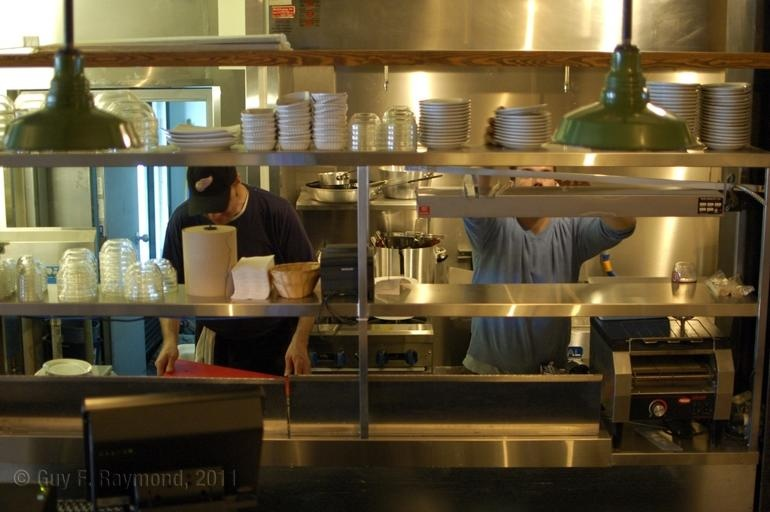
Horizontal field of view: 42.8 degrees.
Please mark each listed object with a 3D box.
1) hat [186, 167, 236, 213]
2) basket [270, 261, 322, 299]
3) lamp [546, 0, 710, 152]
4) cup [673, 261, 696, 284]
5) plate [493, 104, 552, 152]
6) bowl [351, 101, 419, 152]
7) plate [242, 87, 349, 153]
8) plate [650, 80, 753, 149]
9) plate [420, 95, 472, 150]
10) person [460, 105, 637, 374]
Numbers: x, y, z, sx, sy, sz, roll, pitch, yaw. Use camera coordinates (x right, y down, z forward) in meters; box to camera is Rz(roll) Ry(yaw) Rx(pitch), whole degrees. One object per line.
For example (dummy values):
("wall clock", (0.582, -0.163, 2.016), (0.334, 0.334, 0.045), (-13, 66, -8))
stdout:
("hat", (-0.900, -0.336, 5.021), (0.192, 0.252, 0.136), (3, -18, -2))
("basket", (-0.415, 0.102, 4.641), (0.187, 0.105, 0.180), (3, 7, 13))
("lamp", (0.949, -0.697, 3.818), (0.545, 0.544, 0.572), (-12, 16, -37))
("cup", (1.451, 0.080, 4.801), (0.109, 0.082, 0.104), (0, -4, 0))
("plate", (0.618, -0.579, 4.470), (0.261, 0.198, 0.165), (-2, 4, 5))
("bowl", (0.006, -0.576, 4.516), (0.301, 0.168, 0.212), (0, 9, 2))
("plate", (-0.412, -0.609, 4.484), (0.482, 0.272, 0.214), (-3, 4, -8))
("plate", (1.427, -0.657, 4.559), (0.455, 0.262, 0.432), (0, 11, 1))
("plate", (0.265, -0.595, 4.432), (0.240, 0.189, 0.235), (2, 7, 22))
("person", (0.745, 0.041, 5.178), (0.973, 1.252, 0.840), (2, 1, -28))
